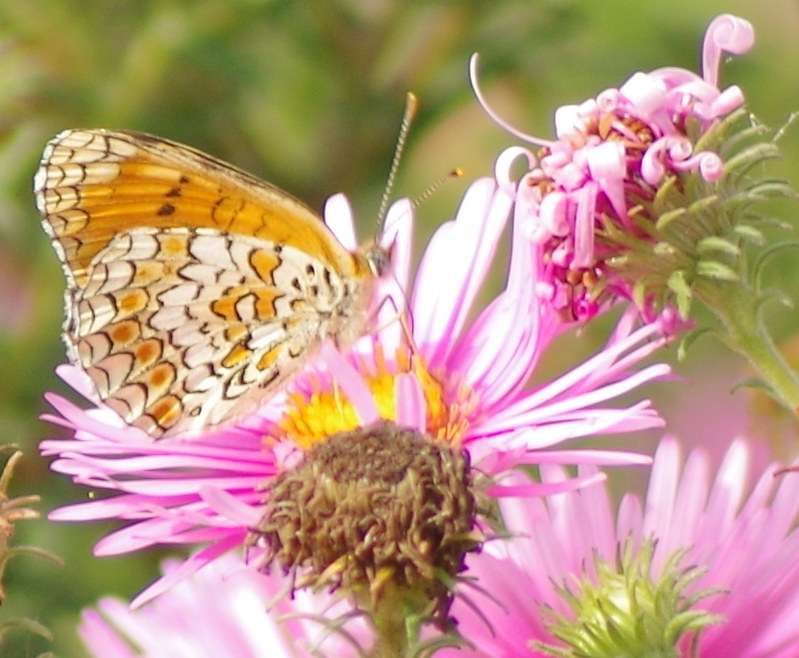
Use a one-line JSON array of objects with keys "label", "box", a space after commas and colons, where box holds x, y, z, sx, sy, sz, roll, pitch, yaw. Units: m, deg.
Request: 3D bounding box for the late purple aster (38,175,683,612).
[{"label": "late purple aster", "box": [0.001, 0.059, 1.189, 0.436, 0.164, 0.448, -19, 49, 27]}]

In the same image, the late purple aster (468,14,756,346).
[{"label": "late purple aster", "box": [0.188, -0.128, 1.099, 0.223, 0.184, 0.213, -11, 50, -3]}]
